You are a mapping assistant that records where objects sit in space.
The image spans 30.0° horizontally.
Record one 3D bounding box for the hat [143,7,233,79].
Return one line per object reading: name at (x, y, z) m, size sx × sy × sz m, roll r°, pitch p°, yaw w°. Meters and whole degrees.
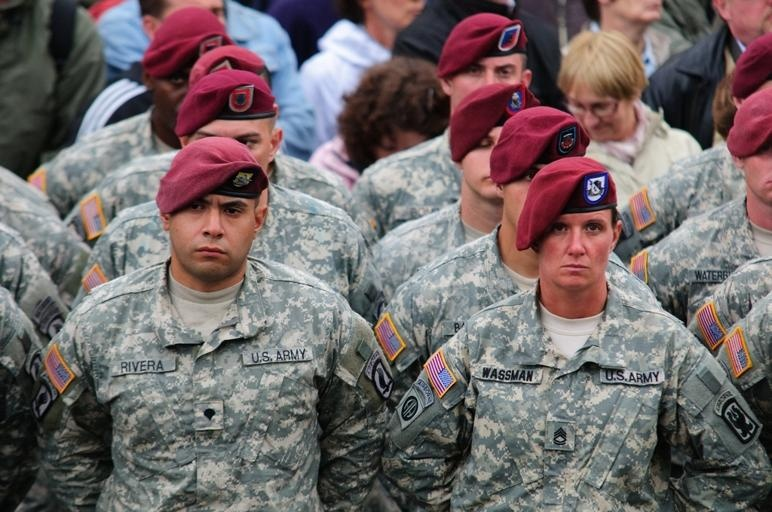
hat at (-1.577, -1.665, 11.023) m, size 0.461 × 0.369 × 0.648 m, roll -24°, pitch 4°, yaw 38°
